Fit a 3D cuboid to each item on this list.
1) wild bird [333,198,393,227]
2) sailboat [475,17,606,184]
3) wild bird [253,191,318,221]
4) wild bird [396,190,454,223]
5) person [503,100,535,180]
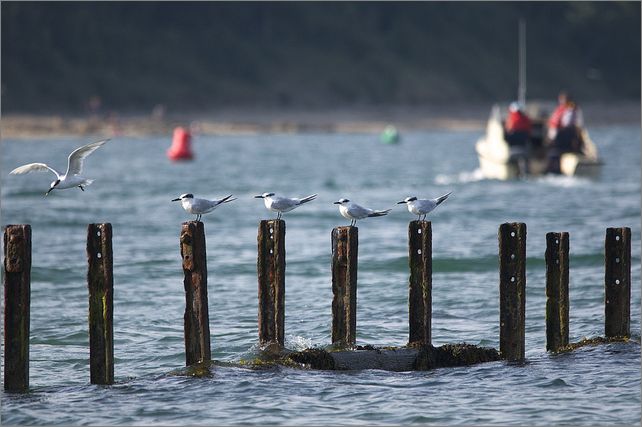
[{"bbox_3d":[1.453,-0.061,62.343,2.194,0.798,0.700,0,1,-24],"label":"wild bird"},{"bbox_3d":[10.517,-4.822,83.837,5.412,5.818,6.717,0,14,3],"label":"sailboat"},{"bbox_3d":[-1.287,-0.318,62.131,2.171,0.774,0.626,0,10,-14],"label":"wild bird"},{"bbox_3d":[3.715,-0.204,62.482,1.259,0.906,0.799,-5,1,1],"label":"wild bird"},{"bbox_3d":[9.805,-3.699,82.772,1.670,3.808,1.037,-8,32,-11],"label":"person"}]
